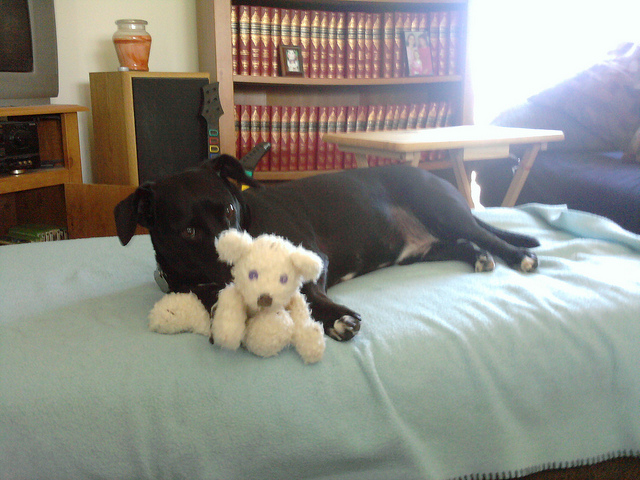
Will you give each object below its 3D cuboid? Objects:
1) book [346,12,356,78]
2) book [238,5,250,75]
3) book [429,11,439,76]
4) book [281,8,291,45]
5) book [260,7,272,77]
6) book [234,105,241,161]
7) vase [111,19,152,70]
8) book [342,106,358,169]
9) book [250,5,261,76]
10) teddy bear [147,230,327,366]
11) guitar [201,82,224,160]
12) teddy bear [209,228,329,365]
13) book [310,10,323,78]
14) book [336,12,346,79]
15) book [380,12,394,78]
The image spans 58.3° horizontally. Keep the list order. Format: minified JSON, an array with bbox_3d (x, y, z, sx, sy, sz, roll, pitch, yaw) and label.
[{"bbox_3d":[0.160,-1.017,2.985,0.051,0.308,0.066,0,21,-12],"label":"book"},{"bbox_3d":[-0.366,-0.961,2.755,0.056,0.304,0.061,-1,21,-15],"label":"book"},{"bbox_3d":[0.619,-1.098,3.113,0.052,0.257,0.241,0,5,8],"label":"book"},{"bbox_3d":[-0.170,-1.060,2.832,0.073,0.144,0.148,0,17,-5],"label":"book"},{"bbox_3d":[-0.264,-0.968,2.795,0.066,0.303,0.061,-4,22,-23],"label":"book"},{"bbox_3d":[-0.412,-0.549,2.861,0.035,0.240,0.105,1,21,-9],"label":"book"},{"bbox_3d":[-0.786,-0.820,2.410,0.183,0.239,0.193,-2,16,-9],"label":"vase"},{"bbox_3d":[0.162,-0.558,3.086,0.068,0.321,0.300,3,5,8],"label":"book"},{"bbox_3d":[-0.311,-0.960,2.765,0.054,0.303,0.059,-2,21,-16],"label":"book"},{"bbox_3d":[-0.121,0.057,1.094,0.249,0.171,0.265,-1,4,1],"label":"teddy bear"},{"bbox_3d":[-0.468,-0.544,2.563,0.076,0.320,0.135,12,22,20],"label":"guitar"},{"bbox_3d":[-0.088,0.096,1.035,0.207,0.240,0.133,2,28,-2],"label":"teddy bear"},{"bbox_3d":[-0.021,-1.001,2.921,0.058,0.310,0.058,1,20,-8],"label":"book"},{"bbox_3d":[0.108,-1.012,2.968,0.057,0.309,0.071,2,20,-8],"label":"book"},{"bbox_3d":[0.356,-1.038,3.046,0.077,0.313,0.054,-4,22,-22],"label":"book"}]
